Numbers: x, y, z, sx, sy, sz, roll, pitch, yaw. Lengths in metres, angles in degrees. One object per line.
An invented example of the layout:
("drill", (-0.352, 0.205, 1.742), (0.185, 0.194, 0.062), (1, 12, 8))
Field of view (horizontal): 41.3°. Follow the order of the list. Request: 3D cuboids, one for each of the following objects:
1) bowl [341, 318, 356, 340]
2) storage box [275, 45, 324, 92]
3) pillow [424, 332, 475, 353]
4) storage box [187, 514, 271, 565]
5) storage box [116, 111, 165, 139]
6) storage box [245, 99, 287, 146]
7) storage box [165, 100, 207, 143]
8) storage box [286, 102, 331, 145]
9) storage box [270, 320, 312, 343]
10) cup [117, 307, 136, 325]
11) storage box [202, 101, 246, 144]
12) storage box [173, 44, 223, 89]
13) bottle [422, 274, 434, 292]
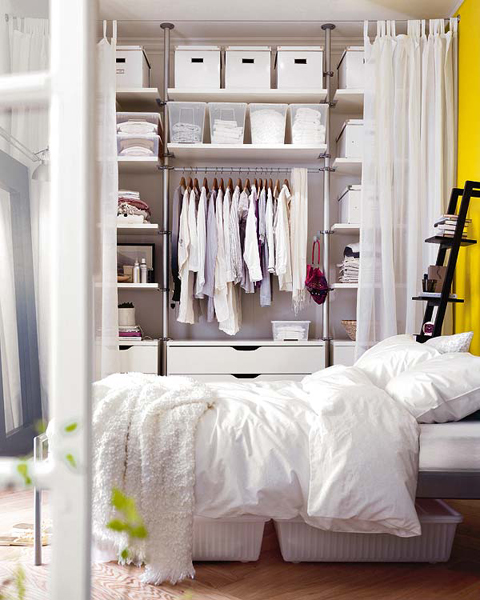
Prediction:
("bowl", (0.628, 0.170, 3.710), (0.081, 0.122, 0.095), (0, -2, 3))
("storage box", (0.339, -1.283, 3.689), (0.195, 0.224, 0.244), (-1, 5, -5))
("pillow", (0.730, 0.152, 2.241), (0.105, 0.039, 0.116), (-47, 13, -21))
("storage box", (-0.038, 0.666, 1.854), (0.168, 0.136, 0.143), (0, -11, 3))
("storage box", (-0.600, -1.033, 3.749), (0.259, 0.126, 0.240), (-3, 14, -11))
("storage box", (0.156, -1.010, 3.689), (0.191, 0.238, 0.195), (0, 1, -1))
("storage box", (-0.314, -1.031, 3.691), (0.212, 0.317, 0.185), (0, 3, -2))
("storage box", (0.394, -1.001, 3.670), (0.166, 0.256, 0.206), (0, -4, 1))
("storage box", (0.296, 0.191, 3.701), (0.139, 0.105, 0.121), (1, -6, 1))
("cup", (-0.678, 0.096, 3.759), (0.070, 0.114, 0.081), (-1, -1, -7))
("storage box", (-0.078, -1.019, 3.678), (0.190, 0.237, 0.187), (0, -3, -10))
("storage box", (-0.255, -1.334, 3.585), (0.190, 0.258, 0.232), (0, 4, 2))
("bottle", (0.956, -0.081, 3.243), (0.036, 0.061, 0.069), (1, -4, -4))
